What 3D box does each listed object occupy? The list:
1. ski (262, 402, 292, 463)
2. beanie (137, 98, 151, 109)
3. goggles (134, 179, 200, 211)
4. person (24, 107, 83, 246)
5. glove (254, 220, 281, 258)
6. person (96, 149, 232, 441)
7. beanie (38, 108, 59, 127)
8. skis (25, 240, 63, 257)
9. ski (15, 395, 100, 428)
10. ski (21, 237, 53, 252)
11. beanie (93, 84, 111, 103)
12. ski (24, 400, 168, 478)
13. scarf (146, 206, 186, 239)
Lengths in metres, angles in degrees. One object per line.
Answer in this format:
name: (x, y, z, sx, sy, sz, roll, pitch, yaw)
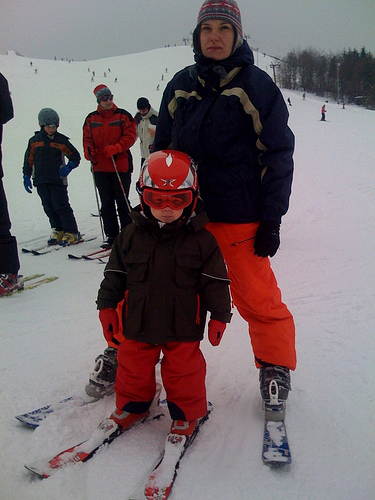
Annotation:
ski: (0.399, 0.850, 1.975, 0.113, 0.025, 0.311, 1, 13, 9)
beanie: (-0.721, -2.442, 7.263, 0.153, 0.157, 0.204, -5, 15, 3)
goggles: (-0.079, -0.246, 2.039, 0.260, 0.117, 0.116, -2, 13, -1)
person: (-1.946, -1.059, 6.340, 0.875, 1.929, 0.451, 3, 14, 20)
glove: (0.389, -0.052, 2.139, 0.121, 0.209, 0.111, 1, 14, 10)
person: (-0.114, 0.205, 2.024, 0.626, 1.299, 0.548, -1, 13, 2)
beanie: (-1.962, -1.898, 6.220, 0.254, 0.262, 0.347, -6, 14, -18)
skis: (-1.998, -0.028, 6.256, 0.294, 0.051, 0.357, 12, 23, 30)
ski: (-0.653, 0.816, 2.205, 0.061, 0.036, 0.230, 10, 7, 30)
ski: (-2.258, -0.089, 6.595, 0.178, 0.050, 0.369, 13, 24, 27)
beanie: (-1.089, -2.003, 5.546, 0.188, 0.221, 0.243, -16, 12, 5)
ski: (-0.514, 0.845, 1.817, 0.090, 0.049, 0.456, -6, -2, 39)
scarf: (-0.096, -0.134, 2.059, 0.184, 0.150, 0.079, -2, 13, -3)
